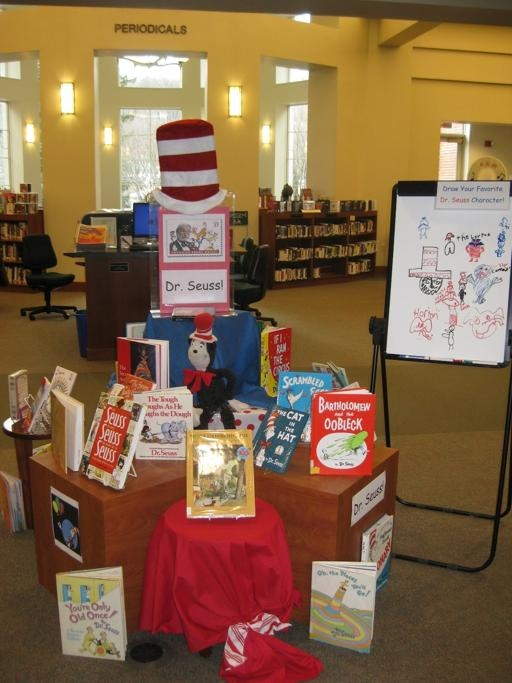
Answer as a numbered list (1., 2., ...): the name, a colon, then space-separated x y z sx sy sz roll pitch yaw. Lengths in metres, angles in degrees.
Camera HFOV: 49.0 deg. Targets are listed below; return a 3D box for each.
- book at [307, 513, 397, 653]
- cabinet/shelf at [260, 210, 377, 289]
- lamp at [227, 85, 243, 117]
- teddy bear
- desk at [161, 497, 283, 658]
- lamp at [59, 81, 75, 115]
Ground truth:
1. book: 0.337 0.789 1.906 0.283 0.357 0.368 1 11 -8
2. cabinet/shelf: 1.112 -1.749 10.626 1.819 1.055 0.402 -12 18 -32
3. lamp: -0.353 -4.166 9.751 0.253 0.476 0.128 -1 10 -6
4. teddy bear: -0.204 0.138 2.597 0.292 0.530 0.229 -5 13 -43
5. desk: -0.095 0.700 1.796 0.390 0.359 0.405 0 -1 3
6. lamp: -3.042 -3.934 9.127 0.231 0.504 0.101 1 9 -15
